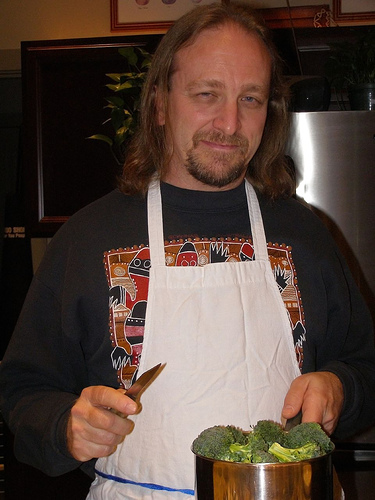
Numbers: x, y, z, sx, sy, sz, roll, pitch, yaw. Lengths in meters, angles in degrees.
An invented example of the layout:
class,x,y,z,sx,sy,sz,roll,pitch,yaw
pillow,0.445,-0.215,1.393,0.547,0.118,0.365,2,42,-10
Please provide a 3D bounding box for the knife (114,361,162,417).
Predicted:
class,x,y,z,sx,sy,sz,roll,pitch,yaw
knife,-0.068,0.189,0.636,0.019,0.009,0.093,11,23,19

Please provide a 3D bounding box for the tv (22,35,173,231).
class,x,y,z,sx,sy,sz,roll,pitch,yaw
tv,-0.384,-0.406,1.770,0.727,0.765,0.042,18,25,36

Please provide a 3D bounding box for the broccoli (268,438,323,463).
class,x,y,z,sx,sy,sz,roll,pitch,yaw
broccoli,0.114,0.206,0.474,0.036,0.014,0.024,13,-16,-37

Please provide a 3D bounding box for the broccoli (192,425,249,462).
class,x,y,z,sx,sy,sz,roll,pitch,yaw
broccoli,0.041,0.208,0.499,0.036,0.013,0.038,5,-3,-42

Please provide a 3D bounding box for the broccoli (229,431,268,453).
class,x,y,z,sx,sy,sz,roll,pitch,yaw
broccoli,0.066,0.206,0.485,0.028,0.020,0.014,-11,-32,4

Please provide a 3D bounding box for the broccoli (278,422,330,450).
class,x,y,z,sx,sy,sz,roll,pitch,yaw
broccoli,0.130,0.204,0.502,0.041,0.020,0.032,-22,-4,5
